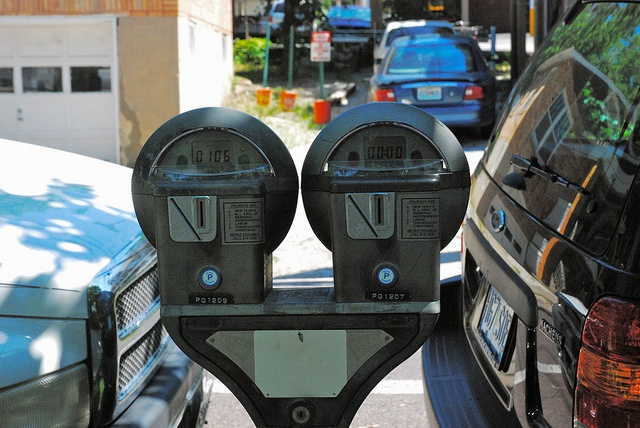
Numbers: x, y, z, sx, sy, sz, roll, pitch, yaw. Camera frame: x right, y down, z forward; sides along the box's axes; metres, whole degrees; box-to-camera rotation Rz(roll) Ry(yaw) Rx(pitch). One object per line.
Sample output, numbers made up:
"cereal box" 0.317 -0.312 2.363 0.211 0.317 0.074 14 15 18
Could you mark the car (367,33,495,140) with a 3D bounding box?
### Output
"car" 1.678 -1.853 9.142 0.951 0.857 2.392 -1 27 7
